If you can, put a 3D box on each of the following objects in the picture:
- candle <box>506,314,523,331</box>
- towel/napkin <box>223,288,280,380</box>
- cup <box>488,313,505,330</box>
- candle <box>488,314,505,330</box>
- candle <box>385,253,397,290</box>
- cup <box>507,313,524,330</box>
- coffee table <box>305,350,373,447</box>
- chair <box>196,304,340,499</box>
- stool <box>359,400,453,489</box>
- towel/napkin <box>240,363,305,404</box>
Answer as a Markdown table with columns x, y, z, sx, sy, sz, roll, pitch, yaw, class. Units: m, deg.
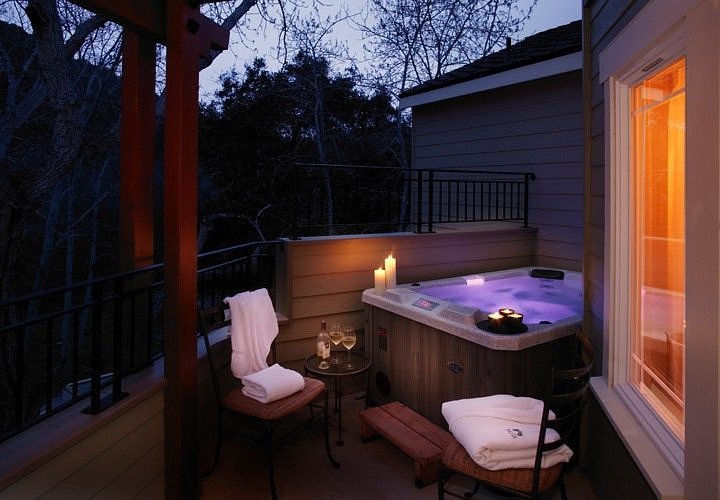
| x | y | z | sx | sy | sz | roll | pitch | yaw | class |
| --- | --- | --- | --- | --- | --- | --- | --- | --- | --- |
| 1.100 | 0.515 | 3.495 | 0.107 | 0.104 | 0.124 | 0 | -1 | 20 | candle |
| -0.841 | 0.613 | 3.678 | 0.346 | 0.645 | 0.317 | -2 | 11 | -44 | towel/napkin |
| 0.980 | 0.514 | 3.497 | 0.108 | 0.109 | 0.106 | 1 | -3 | 0 | cup |
| 0.971 | 0.512 | 3.489 | 0.102 | 0.091 | 0.124 | 2 | 12 | 14 | candle |
| 0.276 | 0.214 | 4.529 | 0.097 | 0.257 | 0.166 | -2 | 11 | -2 | candle |
| 1.098 | 0.507 | 3.498 | 0.113 | 0.112 | 0.129 | -1 | -2 | 41 | cup |
| -0.169 | 1.083 | 3.910 | 0.487 | 0.744 | 0.521 | 0 | 6 | -20 | coffee table |
| -0.625 | 1.119 | 3.661 | 0.800 | 1.459 | 0.927 | -1 | 10 | -35 | chair |
| 0.375 | 1.338 | 3.531 | 0.338 | 0.216 | 0.704 | -10 | 17 | -28 | stool |
| -0.581 | 0.916 | 3.466 | 0.394 | 0.172 | 0.484 | 0 | 1 | 20 | towel/napkin |
